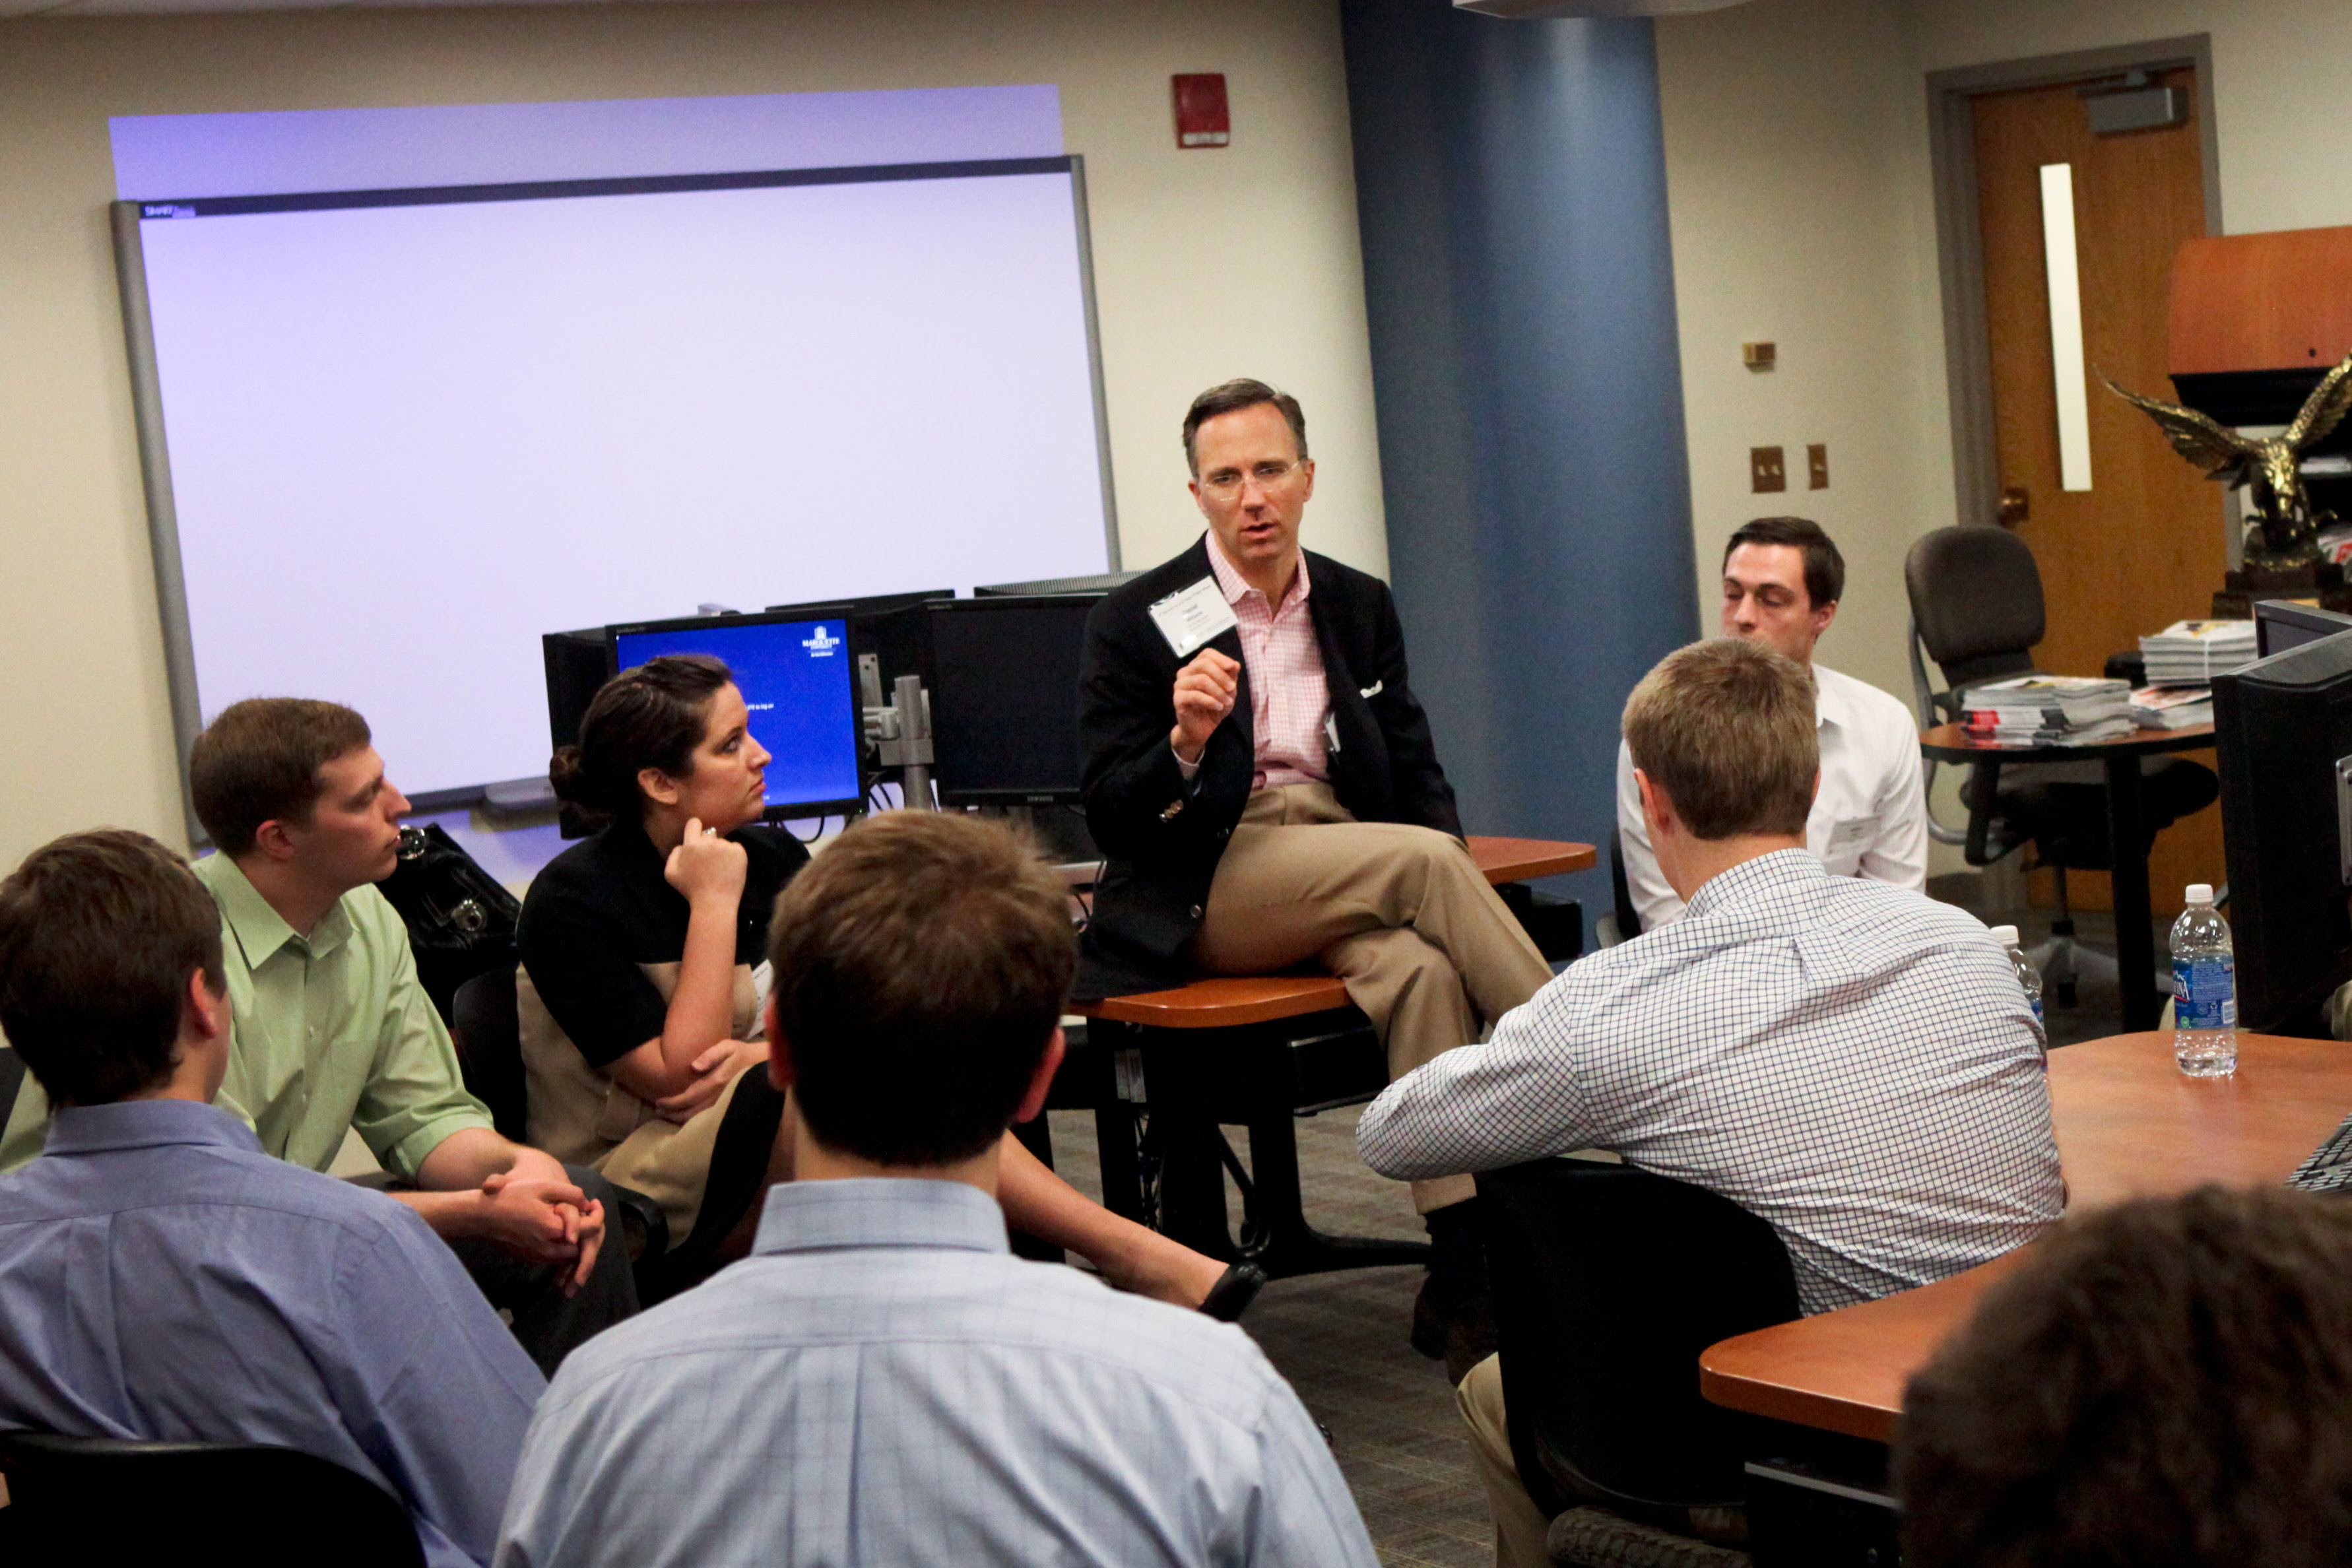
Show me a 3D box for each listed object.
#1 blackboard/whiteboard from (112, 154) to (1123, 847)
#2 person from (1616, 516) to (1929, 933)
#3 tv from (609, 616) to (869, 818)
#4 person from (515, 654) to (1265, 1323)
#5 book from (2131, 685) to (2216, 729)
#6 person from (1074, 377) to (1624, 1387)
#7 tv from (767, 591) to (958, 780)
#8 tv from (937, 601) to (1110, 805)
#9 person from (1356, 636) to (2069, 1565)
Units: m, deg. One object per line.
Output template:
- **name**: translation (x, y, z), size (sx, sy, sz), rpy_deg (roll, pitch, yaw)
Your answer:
- **blackboard/whiteboard**: translation (-1.896, -0.924, 5.383), size (2.302, 1.458, 0.080), rpy_deg (-9, 7, -21)
- **person**: translation (1.291, 0.034, 3.756), size (0.632, 1.171, 0.617), rpy_deg (-1, 5, -3)
- **tv**: translation (-1.004, -0.179, 3.981), size (0.479, 0.580, 0.061), rpy_deg (-5, 5, 1)
- **person**: translation (-0.518, 0.415, 3.191), size (1.445, 1.166, 0.638), rpy_deg (8, 14, 19)
- **book**: translation (3.002, -0.234, 5.256), size (0.201, 0.052, 0.215), rpy_deg (-2, 8, -5)
- **person**: translation (0.293, 0.105, 3.497), size (0.942, 1.909, 1.184), rpy_deg (-2, 0, -37)
- **tv**: translation (-0.845, -0.246, 4.651), size (0.454, 0.457, 0.239), rpy_deg (0, 5, 38)
- **tv**: translation (-0.367, -0.218, 4.240), size (0.488, 0.488, 0.068), rpy_deg (1, 4, 11)
- **person**: translation (0.652, 0.476, 2.114), size (0.771, 1.235, 0.433), rpy_deg (-1, 8, 24)
